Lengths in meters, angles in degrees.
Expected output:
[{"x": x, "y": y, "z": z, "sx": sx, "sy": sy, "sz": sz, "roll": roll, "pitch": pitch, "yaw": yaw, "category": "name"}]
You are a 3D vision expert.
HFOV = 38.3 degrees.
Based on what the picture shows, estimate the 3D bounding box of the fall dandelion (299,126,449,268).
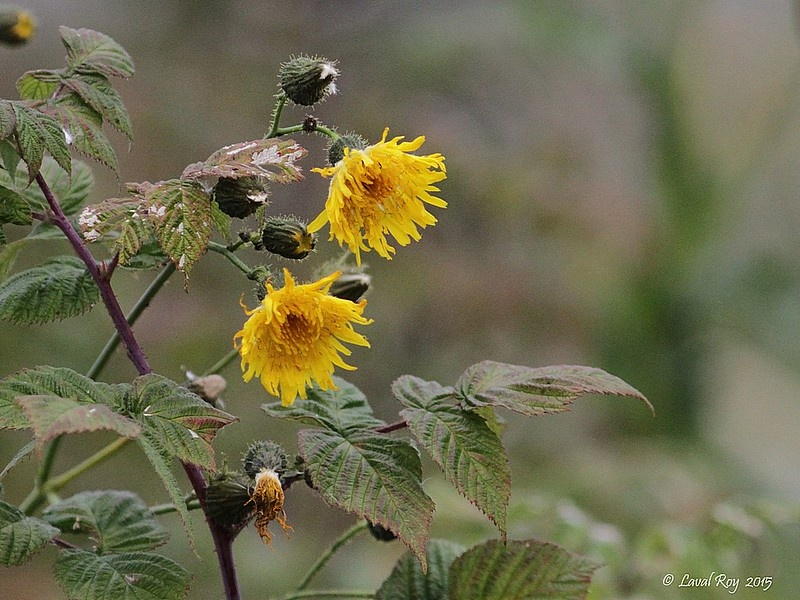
[{"x": -0.024, "y": -0.243, "z": 2.389, "sx": 0.242, "sy": 0.127, "sz": 0.257, "roll": 8, "pitch": -13, "yaw": -29, "category": "fall dandelion"}]

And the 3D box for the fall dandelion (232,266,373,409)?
[{"x": -0.208, "y": 0.071, "z": 2.278, "sx": 0.242, "sy": 0.290, "sz": 0.121, "roll": -3, "pitch": 8, "yaw": -15, "category": "fall dandelion"}]
